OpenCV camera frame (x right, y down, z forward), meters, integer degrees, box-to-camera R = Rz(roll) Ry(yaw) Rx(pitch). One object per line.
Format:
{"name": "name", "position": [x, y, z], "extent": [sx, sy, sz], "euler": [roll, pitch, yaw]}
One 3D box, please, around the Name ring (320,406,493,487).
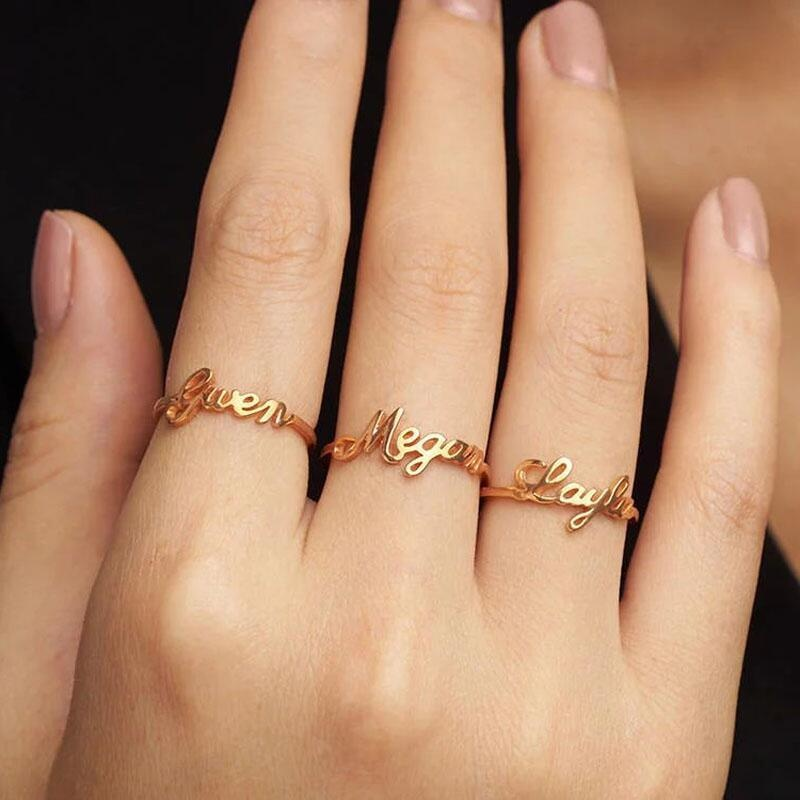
{"name": "Name ring", "position": [0.019, 0.067, 1.294], "extent": [0.130, 0.110, 0.041], "euler": [23, 89, -20]}

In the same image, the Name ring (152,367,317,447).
{"name": "Name ring", "position": [-0.223, 0.018, 1.291], "extent": [0.150, 0.096, 0.038], "euler": [28, 74, -5]}
